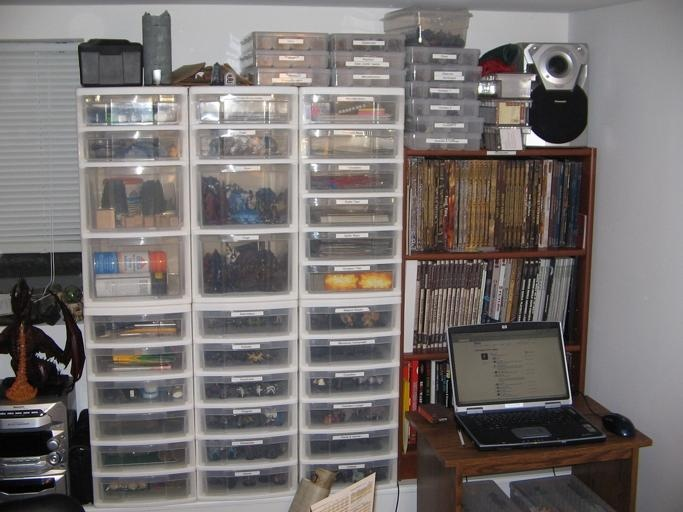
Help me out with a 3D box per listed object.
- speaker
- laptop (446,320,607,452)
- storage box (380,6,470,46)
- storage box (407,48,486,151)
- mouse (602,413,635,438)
[{"bbox_3d":[0.908,-0.848,3.911,0.440,0.576,0.601,-2,4,-8],"label":"speaker"},{"bbox_3d":[0.821,0.486,3.392,0.648,0.418,0.550,-2,8,-11],"label":"laptop"},{"bbox_3d":[0.404,-1.134,3.614,0.465,0.206,0.241,-1,7,16],"label":"storage box"},{"bbox_3d":[0.491,-0.757,3.558,0.472,0.448,0.464,0,9,2],"label":"storage box"},{"bbox_3d":[1.258,0.762,3.314,0.078,0.044,0.128,-5,14,-26],"label":"mouse"}]
